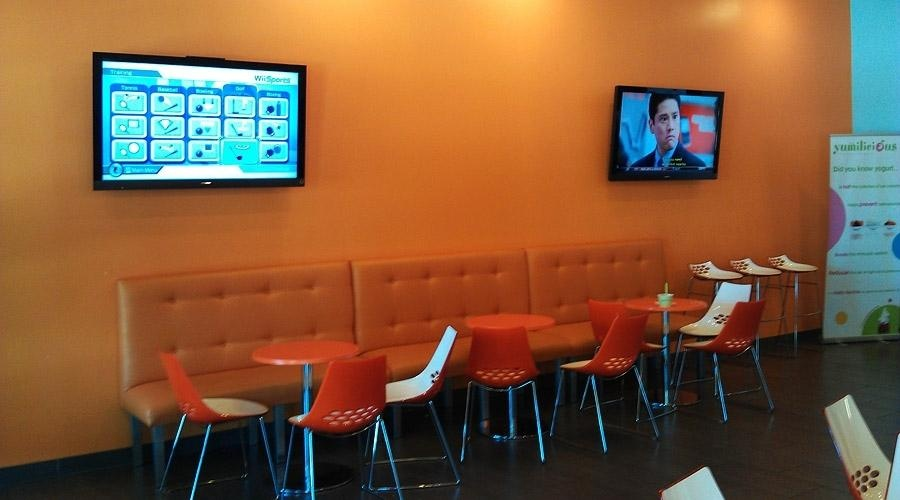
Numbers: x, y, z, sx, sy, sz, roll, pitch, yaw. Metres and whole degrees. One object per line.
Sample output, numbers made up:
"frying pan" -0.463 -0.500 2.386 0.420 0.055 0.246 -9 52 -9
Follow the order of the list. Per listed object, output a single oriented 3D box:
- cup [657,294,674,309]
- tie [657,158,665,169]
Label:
"cup" 2.593 0.613 8.062 0.204 0.141 0.197 -1 -3 0
"tie" 3.043 -1.257 9.569 0.141 0.116 0.032 0 4 -22
